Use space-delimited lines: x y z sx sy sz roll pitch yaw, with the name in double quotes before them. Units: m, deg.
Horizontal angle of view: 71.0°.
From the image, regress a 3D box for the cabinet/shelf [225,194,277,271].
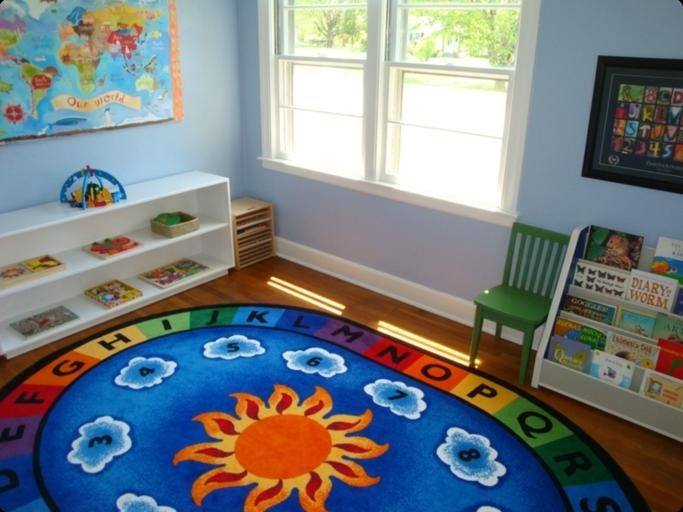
"cabinet/shelf" -0.888 -0.222 4.710 0.443 0.592 0.528 23 35 35
